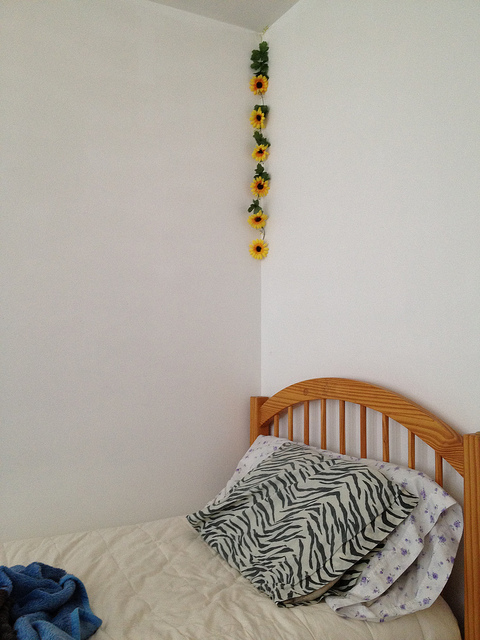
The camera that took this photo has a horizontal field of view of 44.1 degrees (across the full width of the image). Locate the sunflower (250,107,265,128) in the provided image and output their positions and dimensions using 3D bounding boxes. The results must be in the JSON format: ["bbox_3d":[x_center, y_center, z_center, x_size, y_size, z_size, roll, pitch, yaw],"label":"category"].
[{"bbox_3d":[0.078,-0.882,2.570,0.097,0.112,0.037,0,11,1],"label":"sunflower"}]

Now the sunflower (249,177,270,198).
[{"bbox_3d":[0.086,-0.580,2.570,0.067,0.060,0.092,1,0,-18],"label":"sunflower"}]

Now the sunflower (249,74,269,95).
[{"bbox_3d":[0.083,-1.025,2.565,0.072,0.075,0.029,-2,16,-5],"label":"sunflower"}]

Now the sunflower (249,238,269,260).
[{"bbox_3d":[0.081,-0.312,2.577,0.081,0.082,0.018,-9,-8,-1],"label":"sunflower"}]

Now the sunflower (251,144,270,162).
[{"bbox_3d":[0.082,-0.726,2.562,0.068,0.069,0.025,24,23,20],"label":"sunflower"}]
